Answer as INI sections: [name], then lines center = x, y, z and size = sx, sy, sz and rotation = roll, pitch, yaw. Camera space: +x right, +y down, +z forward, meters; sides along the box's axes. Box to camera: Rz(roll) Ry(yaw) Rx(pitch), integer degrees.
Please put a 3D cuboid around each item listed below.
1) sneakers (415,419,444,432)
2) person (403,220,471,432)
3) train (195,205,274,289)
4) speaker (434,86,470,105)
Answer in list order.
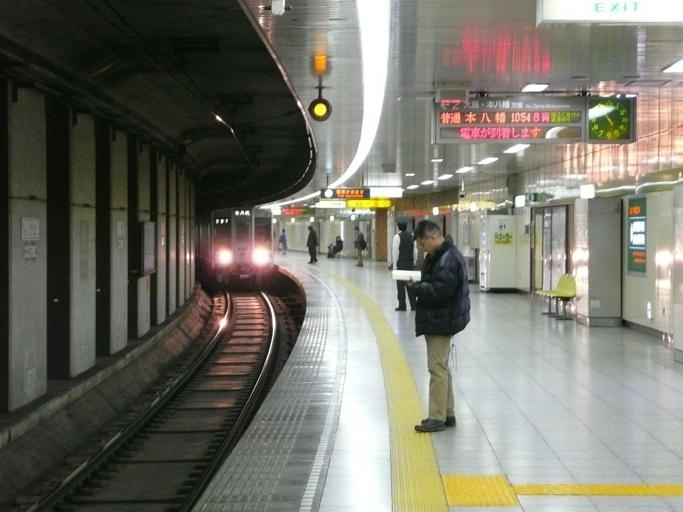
[sneakers]
center = 0.848, 1.639, 6.385
size = 0.294, 0.157, 0.113
rotation = 2, -1, -10
[person]
center = 0.941, 0.676, 6.393
size = 0.606, 2.040, 0.406
rotation = 1, 5, 6
[train]
center = -4.332, -0.301, 27.051
size = 3.012, 3.355, 0.994
rotation = 1, 5, 1
[speaker]
center = 1.525, -2.215, 9.070
size = 0.328, 0.175, 0.242
rotation = 1, -1, -1
